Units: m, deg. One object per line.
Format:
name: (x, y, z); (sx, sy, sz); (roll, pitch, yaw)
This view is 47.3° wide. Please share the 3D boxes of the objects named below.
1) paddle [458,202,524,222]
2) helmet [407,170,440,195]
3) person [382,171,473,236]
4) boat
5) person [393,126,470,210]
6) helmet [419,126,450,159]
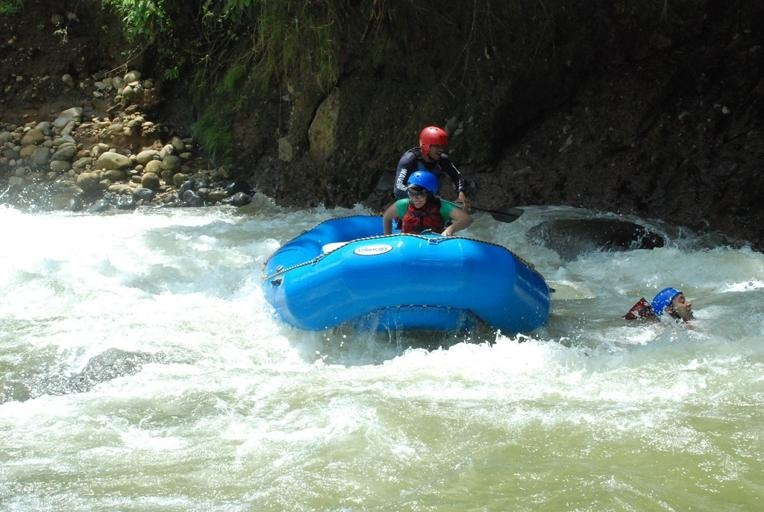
paddle: (1.755, -0.639, 13.374); (1.079, 0.318, 0.061); (11, 20, 34)
helmet: (0.540, -0.892, 10.812); (0.283, 0.359, 0.256); (-38, 33, -10)
person: (0.666, -0.674, 11.493); (1.036, 1.349, 0.478); (3, 31, 8)
boat: (0.328, 0.318, 10.537); (3.212, 1.270, 1.585); (0, 12, 19)
person: (0.683, -0.918, 12.140); (1.020, 1.640, 1.069); (-2, 20, -5)
helmet: (0.701, -1.595, 12.073); (0.461, 0.362, 0.337); (9, 17, 35)
